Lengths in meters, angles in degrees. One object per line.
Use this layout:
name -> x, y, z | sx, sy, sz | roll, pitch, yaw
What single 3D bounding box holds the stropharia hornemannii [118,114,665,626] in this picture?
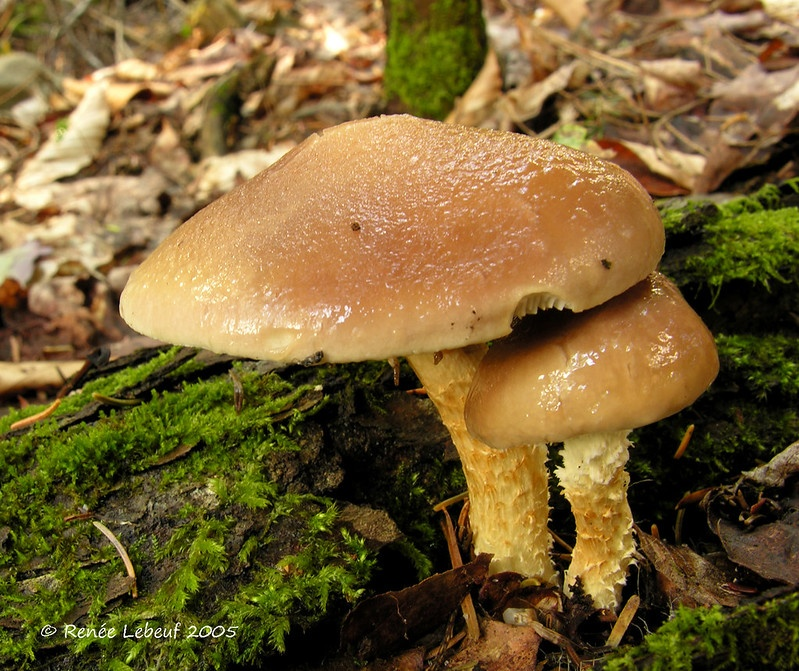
stropharia hornemannii -> 0.271, 0.181, 4.998 | 2.768, 2.897, 2.722 | -3, -69, 18
